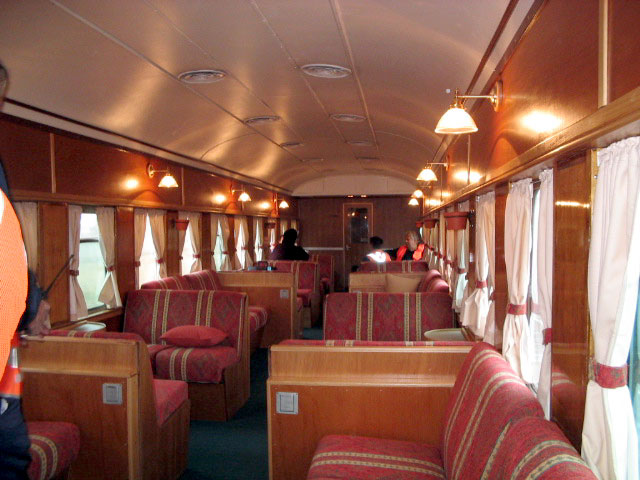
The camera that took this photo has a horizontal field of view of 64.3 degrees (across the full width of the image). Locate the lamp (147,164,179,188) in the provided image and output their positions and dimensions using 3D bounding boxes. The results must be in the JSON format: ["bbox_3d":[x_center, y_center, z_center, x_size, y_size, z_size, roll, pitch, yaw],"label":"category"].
[{"bbox_3d":[-2.409,-0.969,7.848,0.423,0.328,0.263,-4,-7,31],"label":"lamp"}]

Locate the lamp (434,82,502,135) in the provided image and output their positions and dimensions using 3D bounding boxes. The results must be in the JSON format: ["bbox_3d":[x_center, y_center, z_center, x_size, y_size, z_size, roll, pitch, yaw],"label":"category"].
[{"bbox_3d":[1.169,-1.044,3.985,0.483,0.401,0.311,1,2,3],"label":"lamp"}]

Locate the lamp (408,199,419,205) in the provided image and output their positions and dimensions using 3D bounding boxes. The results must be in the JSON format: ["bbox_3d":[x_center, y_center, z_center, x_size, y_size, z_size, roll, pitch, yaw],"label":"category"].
[{"bbox_3d":[2.651,-1.074,14.391,0.257,0.112,0.272,-29,-24,21],"label":"lamp"}]

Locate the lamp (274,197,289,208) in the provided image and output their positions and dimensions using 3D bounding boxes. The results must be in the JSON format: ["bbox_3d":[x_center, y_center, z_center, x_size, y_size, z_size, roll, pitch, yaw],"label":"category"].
[{"bbox_3d":[-1.176,-1.121,15.477,0.343,0.381,0.314,-7,-9,27],"label":"lamp"}]
